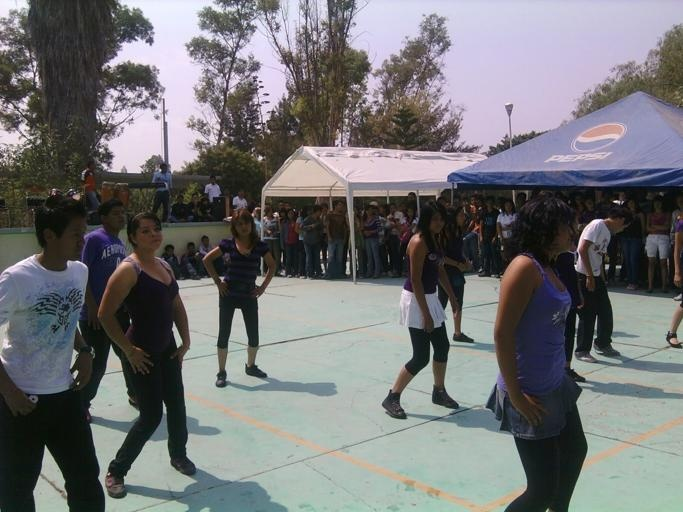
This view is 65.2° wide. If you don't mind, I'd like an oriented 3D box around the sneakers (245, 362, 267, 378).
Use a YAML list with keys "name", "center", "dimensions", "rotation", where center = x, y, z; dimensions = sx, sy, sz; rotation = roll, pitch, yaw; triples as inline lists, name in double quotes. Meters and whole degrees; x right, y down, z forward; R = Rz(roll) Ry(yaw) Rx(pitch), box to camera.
- name: "sneakers"
  center: [-1.041, 1.384, 6.440]
  dimensions: [0.302, 0.135, 0.114]
  rotation: [12, 6, 18]

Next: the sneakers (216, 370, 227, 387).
- name: "sneakers"
  center: [-1.384, 1.419, 6.131]
  dimensions: [0.077, 0.093, 0.217]
  rotation: [1, -7, -6]

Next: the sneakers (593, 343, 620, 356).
- name: "sneakers"
  center: [3.461, 1.187, 6.949]
  dimensions: [0.317, 0.190, 0.276]
  rotation: [2, 7, 25]

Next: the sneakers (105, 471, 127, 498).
- name: "sneakers"
  center: [-1.668, 1.705, 3.976]
  dimensions: [0.101, 0.134, 0.189]
  rotation: [4, -4, -42]

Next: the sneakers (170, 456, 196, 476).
- name: "sneakers"
  center: [-1.265, 1.653, 4.245]
  dimensions: [0.216, 0.096, 0.096]
  rotation: [1, 1, 39]

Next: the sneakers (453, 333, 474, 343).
- name: "sneakers"
  center: [1.747, 1.190, 7.740]
  dimensions: [0.329, 0.149, 0.113]
  rotation: [1, -4, 6]

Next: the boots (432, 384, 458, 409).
- name: "boots"
  center: [1.087, 1.425, 5.436]
  dimensions: [0.362, 0.236, 0.131]
  rotation: [2, 4, 29]

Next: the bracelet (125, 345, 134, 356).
- name: "bracelet"
  center: [-1.511, 0.672, 3.812]
  dimensions: [0.056, 0.065, 0.066]
  rotation: [6, 10, 26]

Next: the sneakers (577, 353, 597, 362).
- name: "sneakers"
  center: [3.090, 1.277, 6.722]
  dimensions: [0.086, 0.089, 0.216]
  rotation: [2, -2, -38]

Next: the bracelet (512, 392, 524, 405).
- name: "bracelet"
  center: [0.945, 0.756, 2.844]
  dimensions: [0.070, 0.068, 0.055]
  rotation: [-9, -6, 39]

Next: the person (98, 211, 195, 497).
- name: "person"
  center: [-1.475, 0.714, 4.008]
  dimensions: [0.693, 2.055, 0.457]
  rotation: [-6, 9, -34]

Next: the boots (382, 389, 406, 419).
- name: "boots"
  center: [0.510, 1.439, 5.205]
  dimensions: [0.255, 0.242, 0.117]
  rotation: [3, 8, 34]
